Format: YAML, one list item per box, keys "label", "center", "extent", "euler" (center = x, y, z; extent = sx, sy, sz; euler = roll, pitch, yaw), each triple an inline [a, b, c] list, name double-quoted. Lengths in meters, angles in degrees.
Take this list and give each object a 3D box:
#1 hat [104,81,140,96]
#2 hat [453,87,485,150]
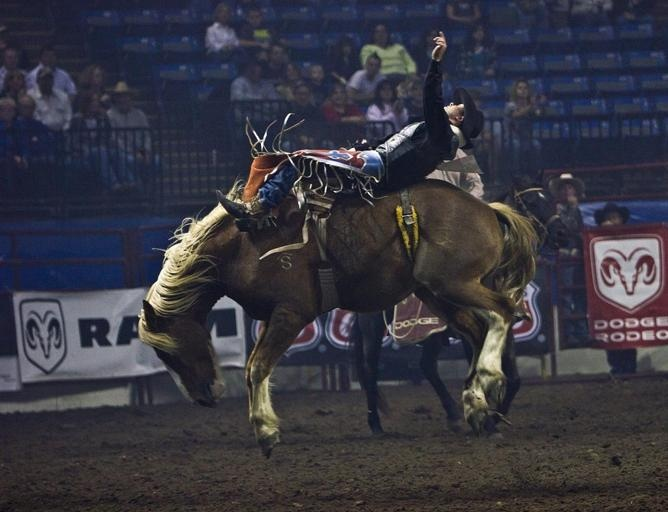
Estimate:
- label: "hat"
  center: [-3.150, -2.522, 21.773]
  extent: [0.416, 0.196, 0.244]
  euler: [-6, 15, -15]
- label: "hat"
  center: [1.667, -1.680, 17.532]
  extent: [0.188, 0.633, 0.557]
  euler: [-5, -18, 6]
